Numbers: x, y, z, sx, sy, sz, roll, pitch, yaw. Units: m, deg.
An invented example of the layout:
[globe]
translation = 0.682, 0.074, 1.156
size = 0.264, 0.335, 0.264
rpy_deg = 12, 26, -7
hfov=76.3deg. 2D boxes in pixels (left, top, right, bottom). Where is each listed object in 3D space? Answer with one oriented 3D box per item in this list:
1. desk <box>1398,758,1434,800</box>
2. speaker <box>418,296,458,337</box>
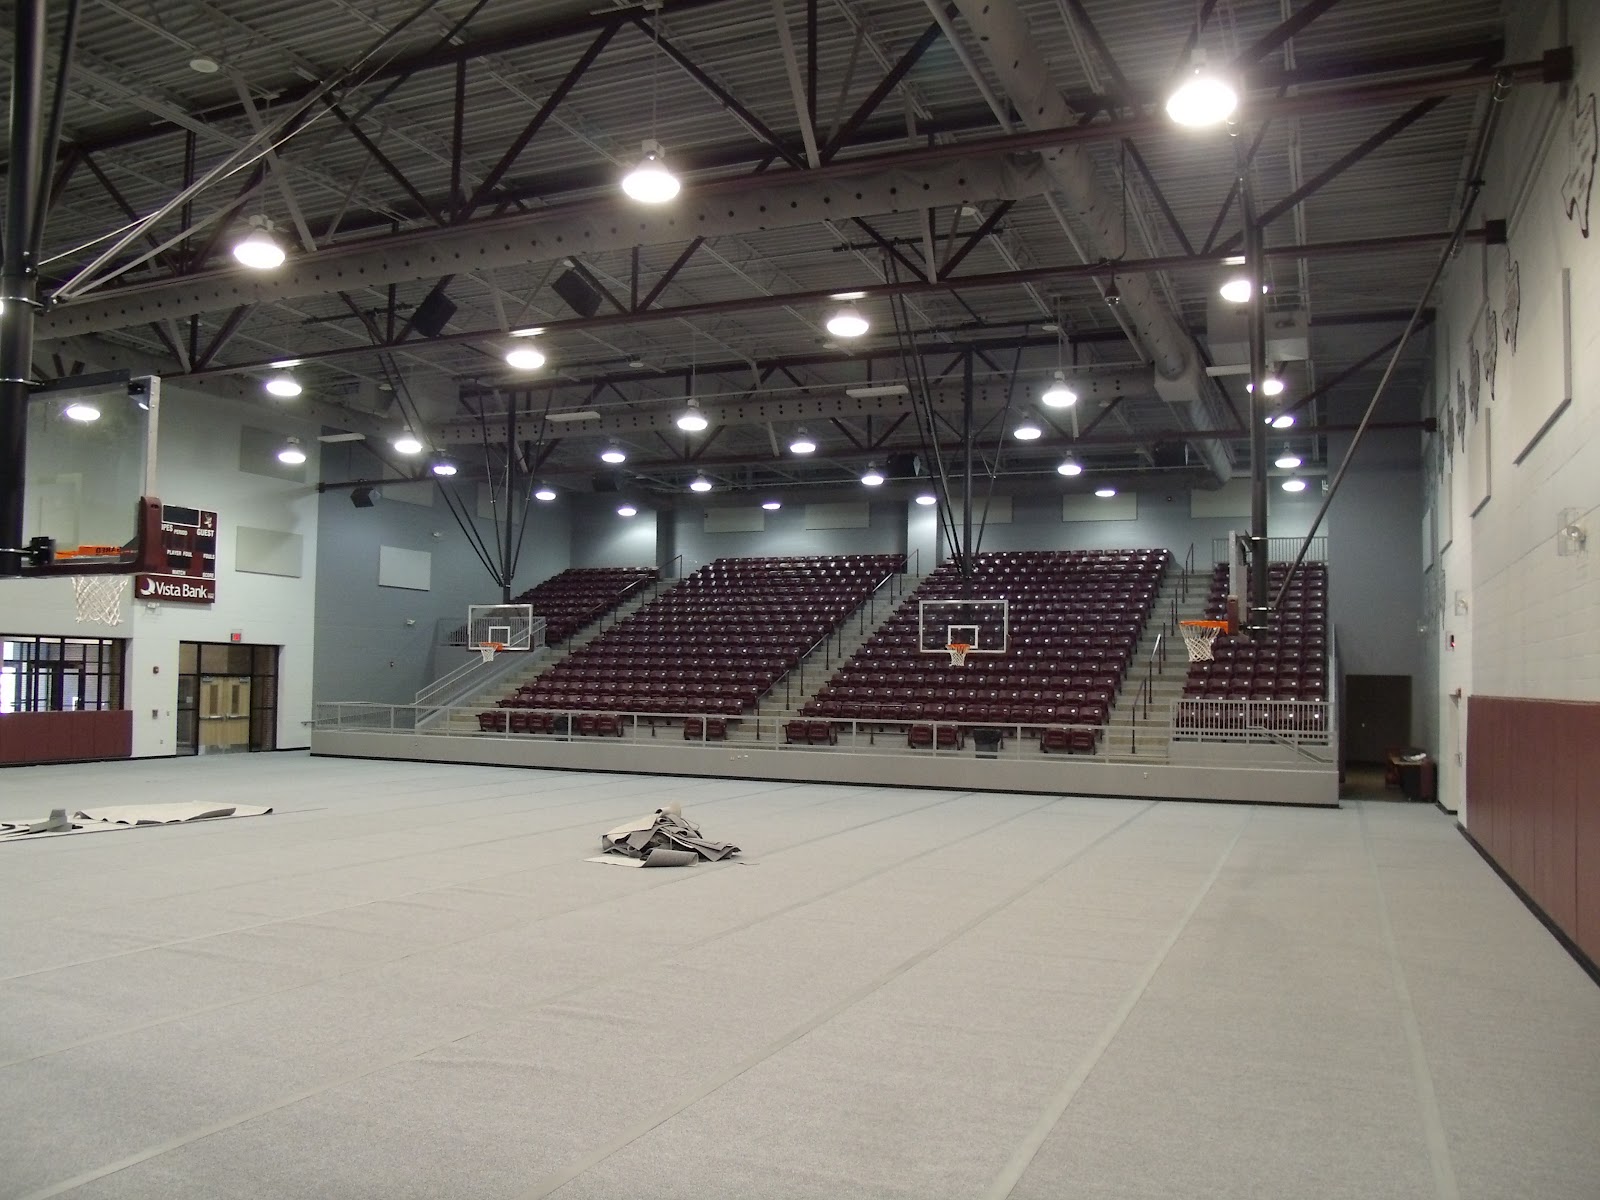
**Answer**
[desk]
translation = 10.967, 3.178, 18.154
size = 0.571, 0.748, 1.078
rpy_deg = -1, -3, 24
[speaker]
translation = -5.609, -4.367, 15.658
size = 0.538, 0.725, 0.458
rpy_deg = 2, -2, -23
